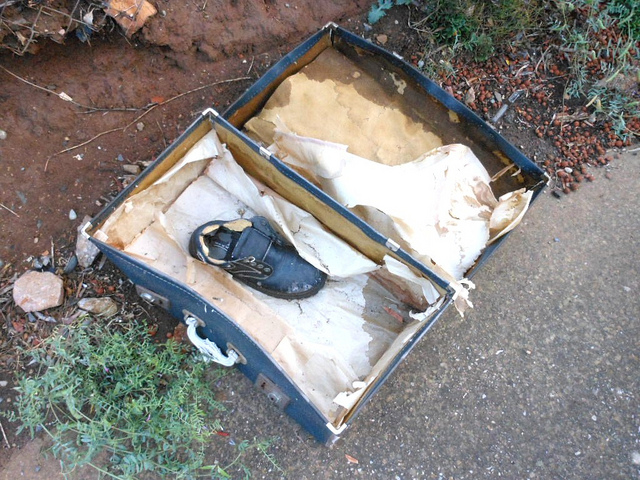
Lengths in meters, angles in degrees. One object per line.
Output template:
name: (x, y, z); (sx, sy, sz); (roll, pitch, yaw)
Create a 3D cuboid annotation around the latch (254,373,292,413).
latch: (-0.247, 0.793, 2.973); (0.219, 0.193, 0.095); (39, 85, 5)

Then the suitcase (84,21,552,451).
suitcase: (0.012, -0.147, 3.046); (1.696, 0.528, 2.027); (42, 86, 5)

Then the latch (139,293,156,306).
latch: (-0.941, 0.323, 3.104); (0.097, 0.040, 0.035); (32, 103, -4)
